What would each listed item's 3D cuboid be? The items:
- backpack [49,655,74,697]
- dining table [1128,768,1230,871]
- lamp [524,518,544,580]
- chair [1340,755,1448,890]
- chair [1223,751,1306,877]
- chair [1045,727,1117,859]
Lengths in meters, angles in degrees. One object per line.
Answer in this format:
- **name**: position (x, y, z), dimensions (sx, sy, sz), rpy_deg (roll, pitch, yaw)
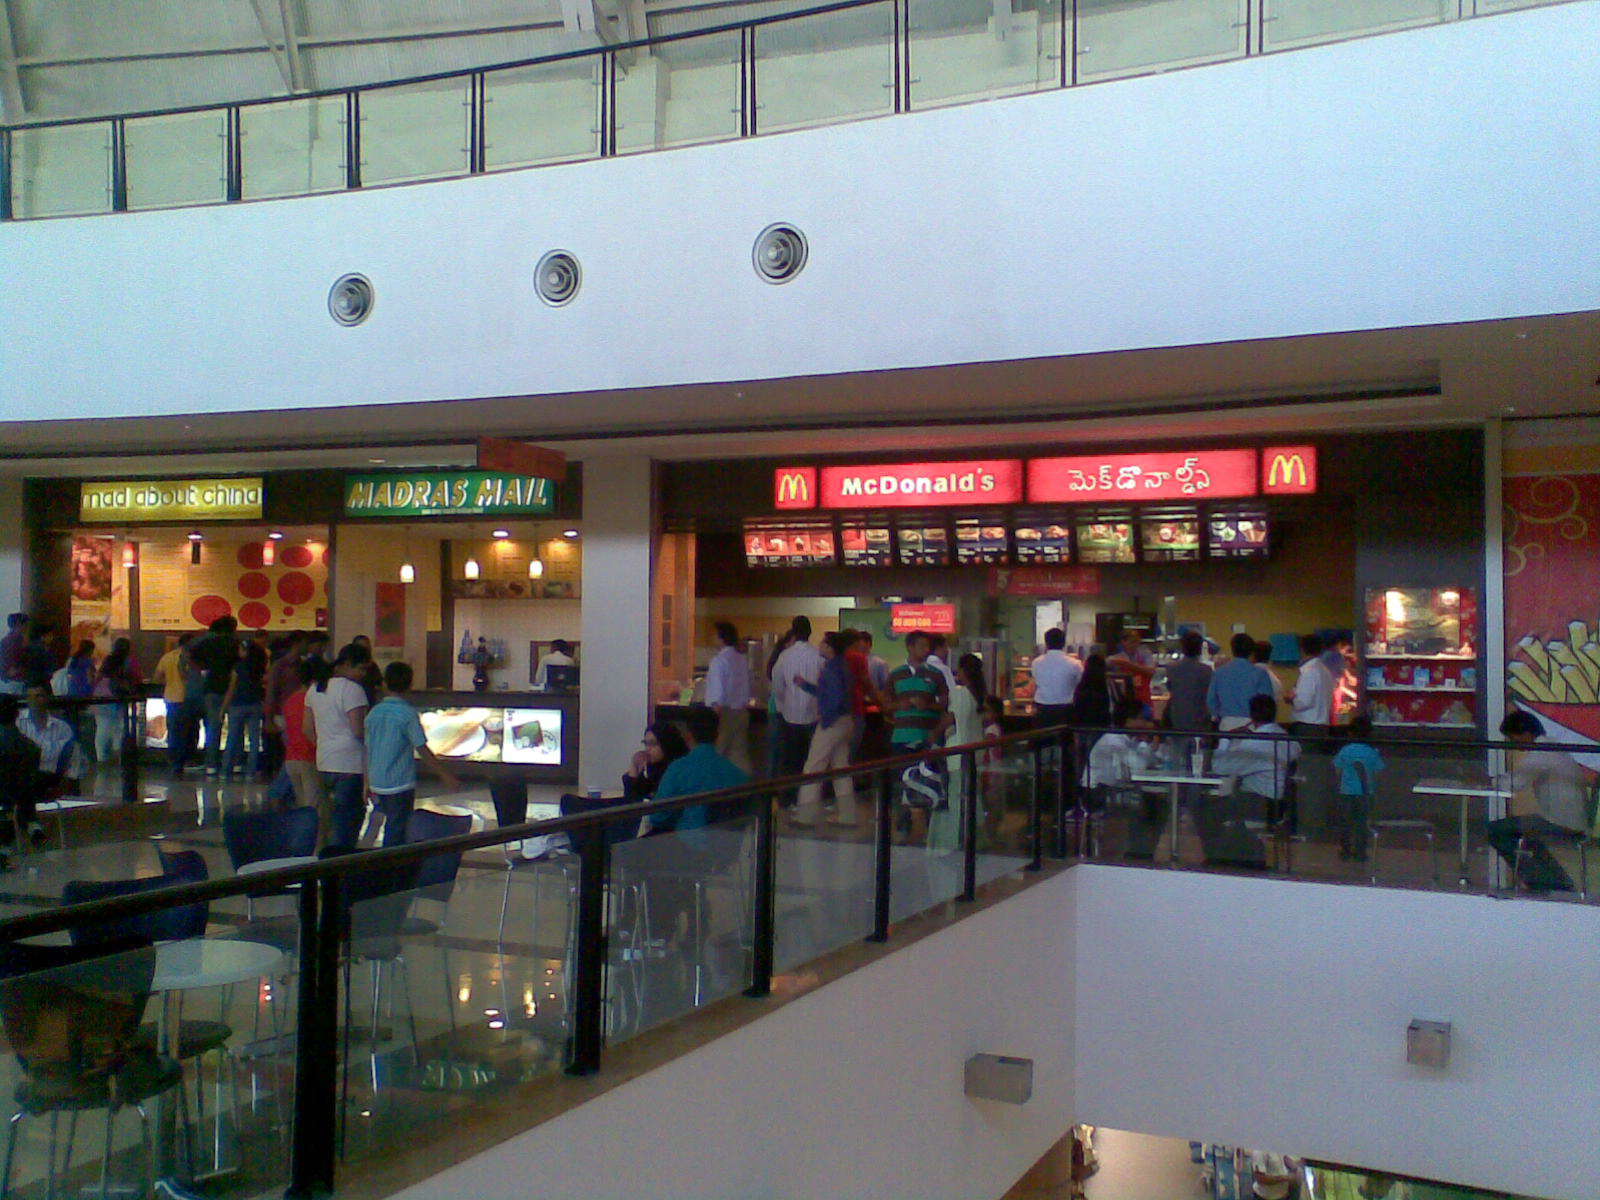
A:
- **backpack**: position (-6.574, 0.694, 12.951), dimensions (0.223, 0.315, 0.306), rpy_deg (2, -9, -9)
- **dining table**: position (2.134, 1.264, 8.374), dimensions (0.610, 0.489, 0.616), rpy_deg (-2, -1, 43)
- **lamp**: position (-2.811, -0.425, 15.486), dimensions (0.204, 0.438, 0.111), rpy_deg (4, 8, 35)
- **chair**: position (3.317, 1.230, 8.122), dimensions (0.424, 0.731, 0.374), rpy_deg (0, -3, 27)
- **chair**: position (2.581, 1.174, 8.294), dimensions (0.431, 0.692, 0.419), rpy_deg (13, -24, -12)
- **chair**: position (1.615, 1.147, 8.578), dimensions (0.450, 0.799, 0.586), rpy_deg (0, -11, -19)
